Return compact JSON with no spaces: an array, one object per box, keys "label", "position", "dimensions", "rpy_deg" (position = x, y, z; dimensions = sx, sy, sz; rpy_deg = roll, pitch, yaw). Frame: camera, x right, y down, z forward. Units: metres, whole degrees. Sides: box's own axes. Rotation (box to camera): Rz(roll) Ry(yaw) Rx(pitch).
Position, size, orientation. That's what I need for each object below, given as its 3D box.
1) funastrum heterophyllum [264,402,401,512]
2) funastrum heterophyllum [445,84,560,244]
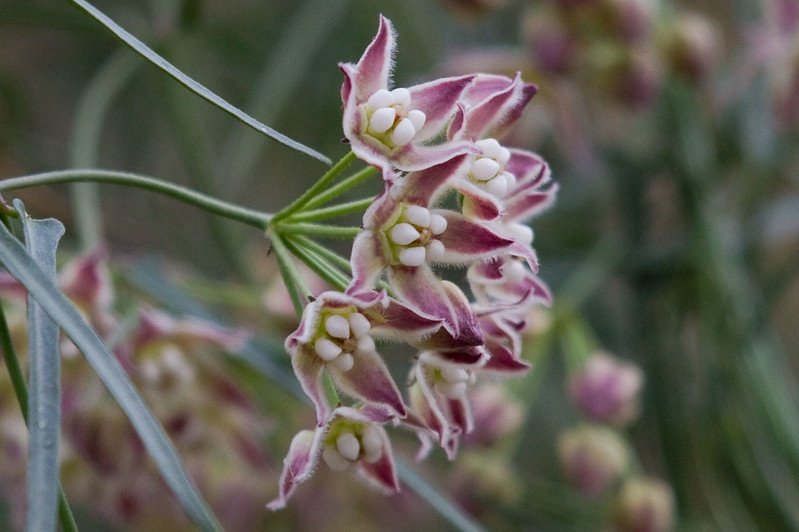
[{"label":"funastrum heterophyllum","position":[-0.060,0.187,1.027],"dimensions":[0.118,0.121,0.062],"rpy_deg":[-2,80,-17]},{"label":"funastrum heterophyllum","position":[0.111,-0.102,1.074],"dimensions":[0.058,0.151,0.157],"rpy_deg":[1,82,44]}]
